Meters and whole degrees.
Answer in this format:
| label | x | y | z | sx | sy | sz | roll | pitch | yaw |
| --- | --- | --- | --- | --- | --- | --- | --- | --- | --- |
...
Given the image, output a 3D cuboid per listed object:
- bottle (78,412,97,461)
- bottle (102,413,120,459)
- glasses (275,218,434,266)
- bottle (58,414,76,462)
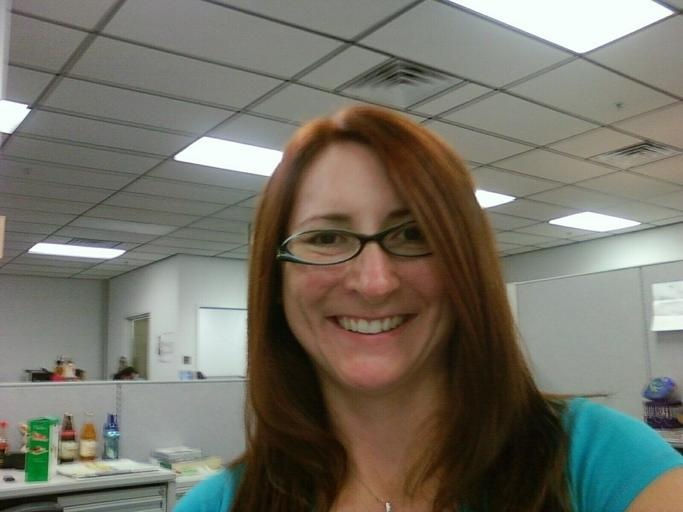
| label | x | y | z | sx | sy | sz | roll | pitch | yaw |
| --- | --- | --- | --- | --- | --- | --- | --- | --- | --- |
| bottle | -1.689 | 1.209 | 3.423 | 0.107 | 0.303 | 0.188 | 0 | -12 | -25 |
| bottle | -1.565 | 1.233 | 3.493 | 0.103 | 0.298 | 0.132 | 0 | -12 | -26 |
| glasses | 0.007 | -0.010 | 0.455 | 0.142 | 0.040 | 0.023 | -9 | -12 | 22 |
| bottle | -1.791 | 1.193 | 3.348 | 0.101 | 0.301 | 0.116 | -1 | -12 | -20 |
